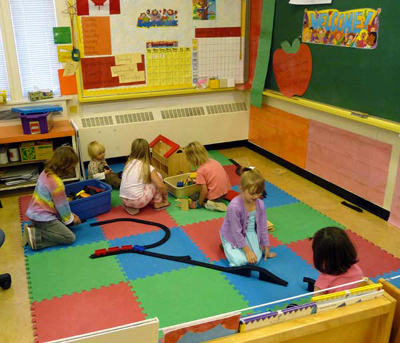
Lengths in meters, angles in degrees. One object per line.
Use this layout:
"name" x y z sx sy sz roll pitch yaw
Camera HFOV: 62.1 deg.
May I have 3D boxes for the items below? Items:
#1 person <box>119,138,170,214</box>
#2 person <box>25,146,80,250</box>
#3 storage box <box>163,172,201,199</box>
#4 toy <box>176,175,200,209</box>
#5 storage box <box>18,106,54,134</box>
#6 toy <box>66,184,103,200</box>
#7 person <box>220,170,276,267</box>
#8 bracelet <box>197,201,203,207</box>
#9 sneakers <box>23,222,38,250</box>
"person" -0.611 0.024 3.645 0.493 0.750 0.519 7 13 21
"person" -1.413 0.264 3.164 0.536 0.964 0.499 -12 36 -43
"storage box" -0.183 0.130 3.835 0.336 0.143 0.270 -8 18 -31
"toy" -0.138 0.227 3.707 0.216 0.127 0.343 -7 27 -15
"storage box" -1.884 -0.575 3.938 0.367 0.191 0.368 1 23 45
"toy" -1.234 0.223 3.589 0.216 0.080 0.165 -14 17 -22
"person" 0.374 0.386 2.645 0.439 0.819 0.315 -2 22 3
"bracelet" -0.011 0.352 3.638 0.049 0.026 0.069 0 8 -6
"sneakers" -1.508 0.586 2.946 0.069 0.225 0.097 -10 -4 1
